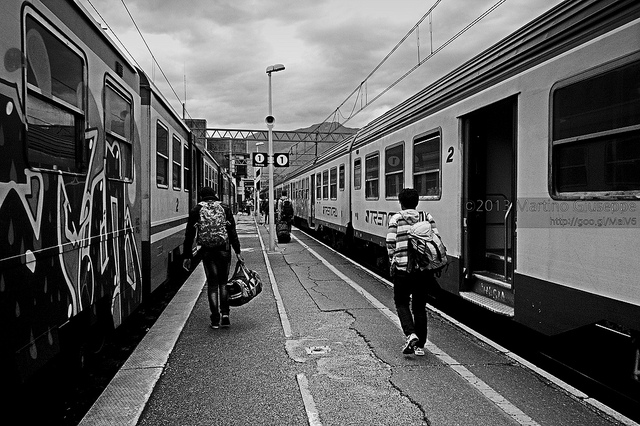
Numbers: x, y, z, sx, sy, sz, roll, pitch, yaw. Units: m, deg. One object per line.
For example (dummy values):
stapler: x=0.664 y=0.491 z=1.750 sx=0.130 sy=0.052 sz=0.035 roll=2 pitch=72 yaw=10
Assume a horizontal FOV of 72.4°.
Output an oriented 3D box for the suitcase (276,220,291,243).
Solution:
suitcase: x=-1.568 y=0.819 z=19.304 sx=0.792 sy=1.363 sz=0.767 roll=1 pitch=6 yaw=-1

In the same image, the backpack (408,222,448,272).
backpack: x=1.413 y=0.469 z=5.817 sx=0.478 sy=0.675 sz=0.353 roll=-15 pitch=-2 yaw=-31

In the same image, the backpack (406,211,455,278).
backpack: x=1.408 y=0.410 z=5.866 sx=0.535 sy=0.898 sz=0.481 roll=-12 pitch=1 yaw=-44

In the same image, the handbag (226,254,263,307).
handbag: x=-1.311 y=1.181 z=7.602 sx=0.384 sy=0.798 sz=0.826 roll=-12 pitch=1 yaw=16

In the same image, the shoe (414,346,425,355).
shoe: x=1.348 y=1.884 z=5.919 sx=0.062 sy=0.078 sz=0.156 roll=0 pitch=-11 yaw=-3

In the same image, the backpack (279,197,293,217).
backpack: x=-1.476 y=-0.300 z=19.294 sx=0.394 sy=0.661 sz=0.679 roll=1 pitch=43 yaw=-6

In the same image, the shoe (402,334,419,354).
shoe: x=1.216 y=1.783 z=5.890 sx=0.118 sy=0.167 sz=0.360 roll=4 pitch=-40 yaw=-11

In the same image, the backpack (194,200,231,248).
backpack: x=-1.717 y=0.227 z=7.239 sx=0.511 sy=0.753 sz=0.430 roll=-2 pitch=10 yaw=-11
